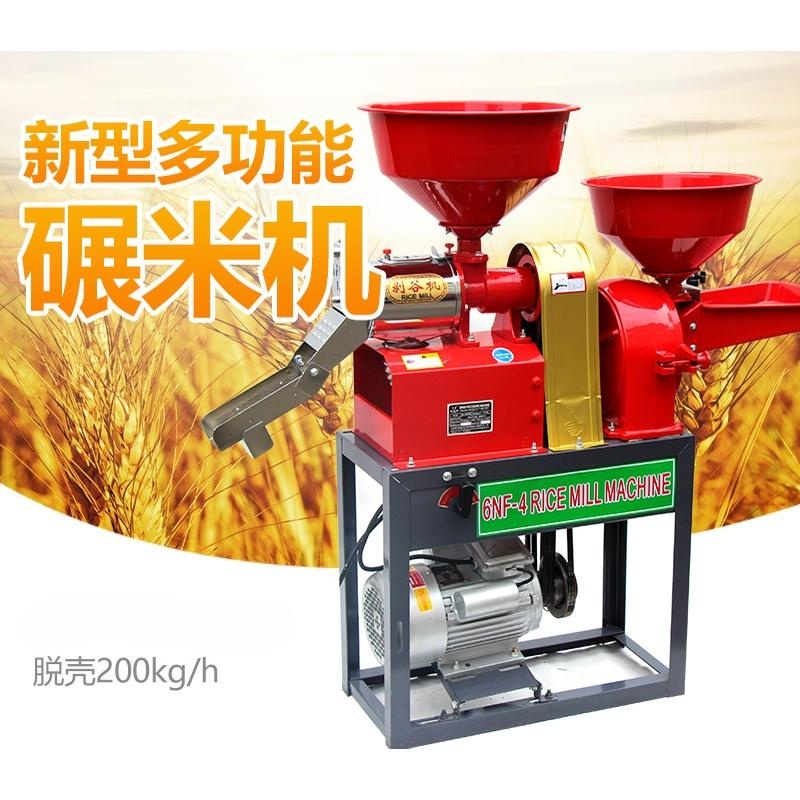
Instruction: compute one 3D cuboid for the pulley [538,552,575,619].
[{"bbox_3d":[0.476,0.554,2.560,0.097,0.208,0.174,-6,-8,-14],"label":"pulley"}]
